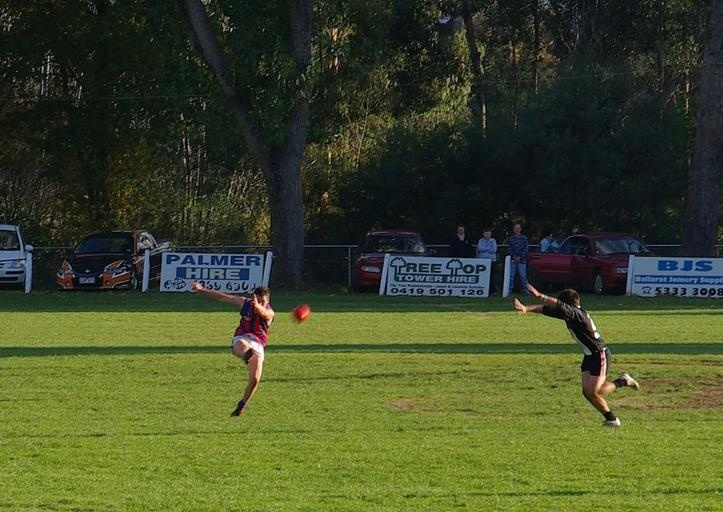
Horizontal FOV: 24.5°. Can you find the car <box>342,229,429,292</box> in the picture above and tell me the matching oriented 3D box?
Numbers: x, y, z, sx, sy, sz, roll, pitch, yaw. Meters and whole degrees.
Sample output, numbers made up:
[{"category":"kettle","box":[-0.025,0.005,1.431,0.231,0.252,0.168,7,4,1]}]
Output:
[{"category":"car","box":[0.892,0.277,63.092,2.472,2.232,3.574,-1,8,-3]}]

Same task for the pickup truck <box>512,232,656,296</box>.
[{"category":"pickup truck","box":[8.945,0.359,64.075,3.328,2.328,6.091,4,-1,-37]}]
